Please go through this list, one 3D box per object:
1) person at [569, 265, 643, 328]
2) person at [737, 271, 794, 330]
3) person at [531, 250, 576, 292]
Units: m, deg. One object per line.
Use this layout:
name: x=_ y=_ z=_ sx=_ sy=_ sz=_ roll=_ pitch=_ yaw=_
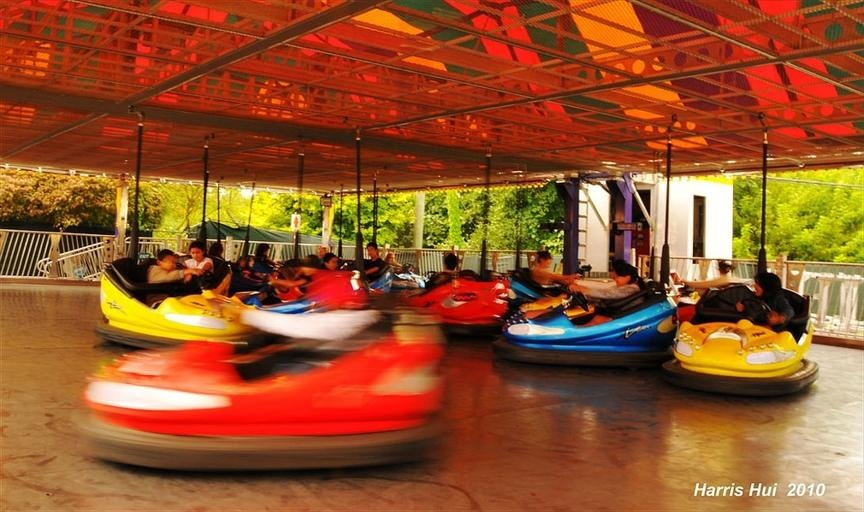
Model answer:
person: x=2.500 y=0.509 z=8.173 sx=0.928 sy=0.864 sz=0.818 roll=6 pitch=8 yaw=13
person: x=4.320 y=0.564 z=7.332 sx=0.625 sy=0.657 sz=0.664 roll=10 pitch=10 yaw=34
person: x=2.328 y=0.287 z=10.533 sx=1.141 sy=0.527 sz=0.591 roll=8 pitch=7 yaw=-8
